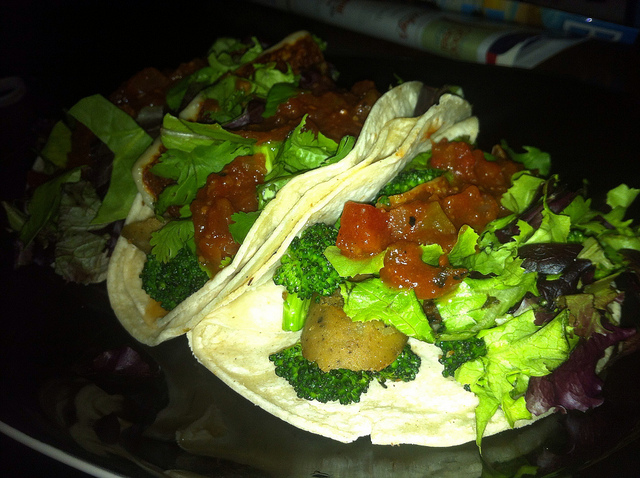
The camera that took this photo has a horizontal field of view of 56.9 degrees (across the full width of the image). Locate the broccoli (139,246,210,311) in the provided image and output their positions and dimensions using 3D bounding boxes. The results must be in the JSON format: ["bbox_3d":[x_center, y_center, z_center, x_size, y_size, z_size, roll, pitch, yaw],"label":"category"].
[{"bbox_3d":[-0.865,0.223,3.385,0.390,0.377,0.170,15,18,29],"label":"broccoli"}]

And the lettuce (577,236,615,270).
[{"bbox_3d":[1.492,0.076,3.204,0.175,0.165,0.078,3,2,-20],"label":"lettuce"}]

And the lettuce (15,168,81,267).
[{"bbox_3d":[-1.676,-0.109,3.742,0.301,0.599,0.157,11,-14,37],"label":"lettuce"}]

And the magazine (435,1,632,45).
[{"bbox_3d":[1.594,-1.626,4.333,1.332,0.163,0.102,20,33,26],"label":"magazine"}]

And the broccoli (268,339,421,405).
[{"bbox_3d":[0.124,0.762,3.269,0.529,0.155,0.437,1,16,-16],"label":"broccoli"}]

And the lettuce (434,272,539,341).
[{"bbox_3d":[0.996,0.381,3.072,0.206,0.301,0.499,22,-26,-26],"label":"lettuce"}]

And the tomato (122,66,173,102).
[{"bbox_3d":[-1.202,-1.070,4.044,0.277,0.266,0.074,-33,70,-19],"label":"tomato"}]

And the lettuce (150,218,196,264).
[{"bbox_3d":[-0.840,0.012,3.328,0.063,0.253,0.249,-8,68,-58],"label":"lettuce"}]

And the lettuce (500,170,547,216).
[{"bbox_3d":[1.113,-0.262,3.242,0.234,0.246,0.100,36,1,20],"label":"lettuce"}]

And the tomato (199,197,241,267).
[{"bbox_3d":[-0.541,-0.043,3.149,0.243,0.303,0.106,24,16,36],"label":"tomato"}]

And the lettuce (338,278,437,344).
[{"bbox_3d":[0.349,0.355,3.012,0.447,0.284,0.150,50,0,8],"label":"lettuce"}]

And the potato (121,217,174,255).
[{"bbox_3d":[-1.042,-0.020,3.644,0.263,0.263,0.078,41,8,20],"label":"potato"}]

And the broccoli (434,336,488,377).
[{"bbox_3d":[0.734,0.601,3.086,0.229,0.227,0.089,4,4,25],"label":"broccoli"}]
